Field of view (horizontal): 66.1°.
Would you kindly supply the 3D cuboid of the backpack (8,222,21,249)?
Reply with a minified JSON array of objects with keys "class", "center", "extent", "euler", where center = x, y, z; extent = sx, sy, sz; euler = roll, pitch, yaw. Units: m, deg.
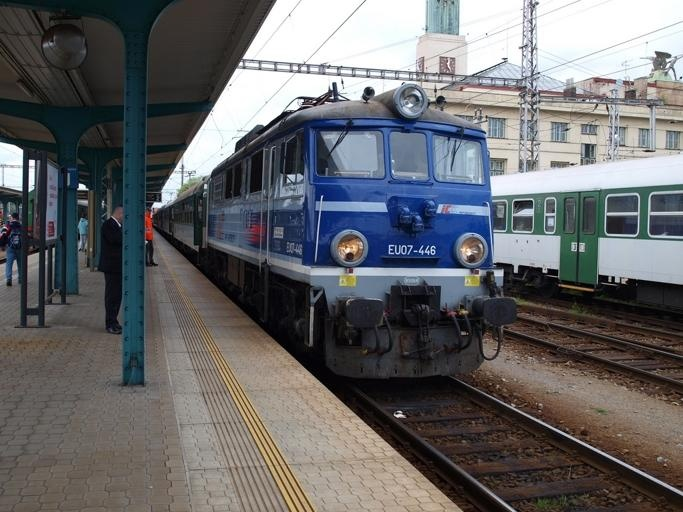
[{"class":"backpack","center":[-9.700,-0.653,15.704],"extent":[0.272,0.879,0.661],"euler":[-2,7,-42]}]

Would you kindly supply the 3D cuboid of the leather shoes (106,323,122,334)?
[{"class":"leather shoes","center":[-4.044,1.300,9.450],"extent":[0.135,0.154,0.338],"euler":[2,-6,-41]}]

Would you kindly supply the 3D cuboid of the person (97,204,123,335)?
[{"class":"person","center":[-4.055,0.240,9.327],"extent":[0.368,2.269,0.552],"euler":[0,5,-26]}]
